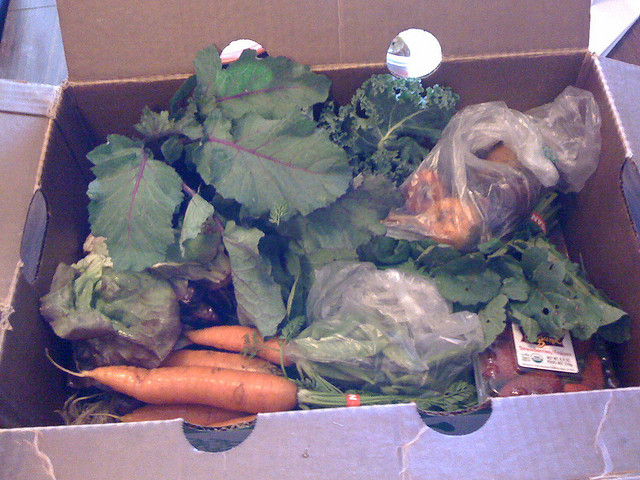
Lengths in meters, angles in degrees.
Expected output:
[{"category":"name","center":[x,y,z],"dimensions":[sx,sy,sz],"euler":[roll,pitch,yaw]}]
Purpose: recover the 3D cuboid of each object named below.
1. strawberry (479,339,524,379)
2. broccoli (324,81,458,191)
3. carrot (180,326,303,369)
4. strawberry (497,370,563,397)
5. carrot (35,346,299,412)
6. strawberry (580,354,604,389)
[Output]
[{"category":"strawberry","center":[0.476,0.322,1.589],"dimensions":[0.094,0.063,0.084],"euler":[-12,49,-14]},{"category":"broccoli","center":[0.190,-0.278,1.691],"dimensions":[0.362,0.287,0.170],"euler":[2,47,-1]},{"category":"carrot","center":[-0.222,0.313,1.759],"dimensions":[0.328,0.083,0.096],"euler":[5,54,11]},{"category":"strawberry","center":[0.550,0.377,1.573],"dimensions":[0.136,0.082,0.035],"euler":[-6,80,-1]},{"category":"carrot","center":[-0.445,0.397,1.700],"dimensions":[0.799,0.143,0.174],"euler":[6,92,-8]},{"category":"strawberry","center":[0.722,0.347,1.595],"dimensions":[0.048,0.022,0.080],"euler":[6,68,8]}]
